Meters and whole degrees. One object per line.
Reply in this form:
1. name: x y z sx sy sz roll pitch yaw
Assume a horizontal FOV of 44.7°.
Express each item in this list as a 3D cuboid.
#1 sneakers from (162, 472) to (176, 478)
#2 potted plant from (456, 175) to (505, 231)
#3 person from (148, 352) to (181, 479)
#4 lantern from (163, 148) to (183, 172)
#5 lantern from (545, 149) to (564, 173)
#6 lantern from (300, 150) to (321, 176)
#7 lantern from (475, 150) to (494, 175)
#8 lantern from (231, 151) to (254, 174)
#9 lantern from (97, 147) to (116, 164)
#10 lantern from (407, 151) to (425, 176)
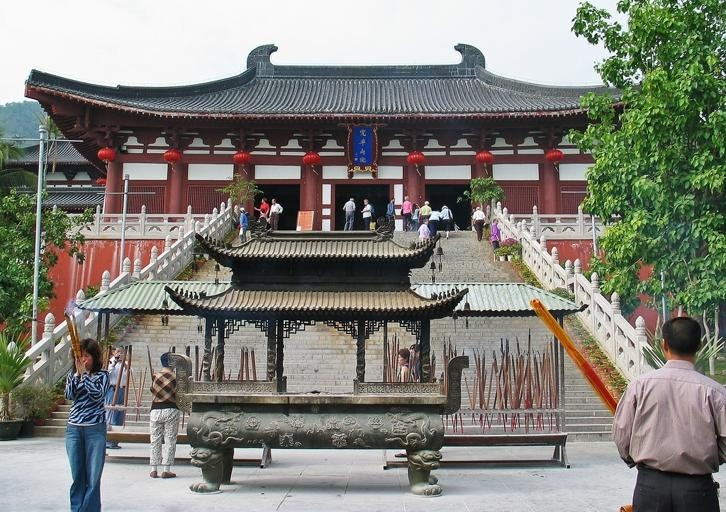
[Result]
1. sneakers: -3.875 4.357 17.808 0.313 0.120 0.111 3 -8 -27
2. potted plant: 4.639 -2.594 34.466 1.527 1.487 1.482 -1 -13 -2
3. person: -3.949 3.172 17.691 0.551 2.443 0.797 3 -10 -11
4. lantern: -7.678 -3.940 35.947 0.790 0.889 0.797 1 -8 -11
5. lantern: 7.878 -3.921 35.913 0.762 0.802 0.668 0 -9 1
6. lantern: -2.021 -3.792 36.132 0.813 0.945 0.898 1 -10 -1
7. lantern: 5.004 -3.844 36.029 0.718 1.025 0.839 -1 -9 9
8. lantern: -4.840 -3.839 36.080 0.763 0.947 0.816 2 -9 -7
9. lantern: -10.387 -4.069 35.770 0.646 0.697 0.647 -1 5 8
10. lantern: 2.242 -3.782 36.174 0.906 1.164 0.896 -2 5 2
